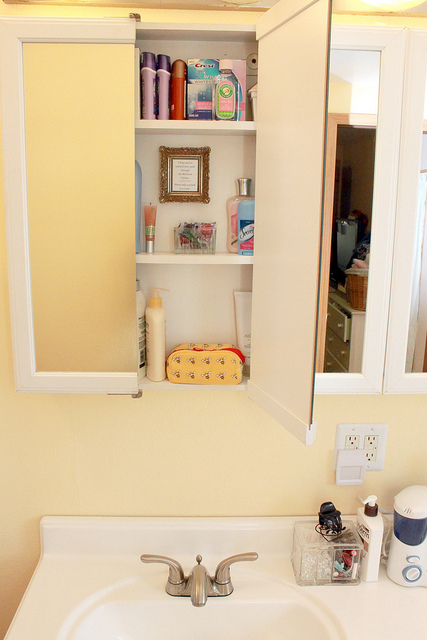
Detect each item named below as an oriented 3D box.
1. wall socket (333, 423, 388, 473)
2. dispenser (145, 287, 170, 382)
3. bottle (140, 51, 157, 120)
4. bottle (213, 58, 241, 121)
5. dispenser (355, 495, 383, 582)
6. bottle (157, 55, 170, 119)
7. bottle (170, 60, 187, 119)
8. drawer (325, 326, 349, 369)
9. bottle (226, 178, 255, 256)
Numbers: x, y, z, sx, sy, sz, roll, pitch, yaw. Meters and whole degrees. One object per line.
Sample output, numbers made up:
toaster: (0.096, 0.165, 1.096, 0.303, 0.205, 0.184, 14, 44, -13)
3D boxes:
wall socket: (0.349, 0.300, 1.201, 0.125, 0.115, 0.021, -1, 11, -5)
dispenser: (-0.122, 0.022, 1.081, 0.045, 0.186, 0.123, -1, 11, -5)
bottle: (-0.122, -0.440, 0.961, 0.032, 0.118, 0.021, -1, 11, -8)
bottle: (0.023, -0.433, 0.980, 0.058, 0.143, 0.032, 3, -13, -8)
dispenser: (0.346, 0.471, 1.123, 0.053, 0.178, 0.099, 4, 11, 18)
bottle: (-0.092, -0.442, 0.971, 0.015, 0.115, 0.031, 9, 14, 39)
bottle: (-0.067, -0.441, 0.979, 0.033, 0.105, 0.019, -1, 11, -6)
drawer: (0.268, 0.058, 1.094, 0.032, 0.061, 0.077, -12, -15, 14)
bottle: (0.059, -0.207, 1.020, 0.046, 0.148, 0.120, -1, 11, -6)
